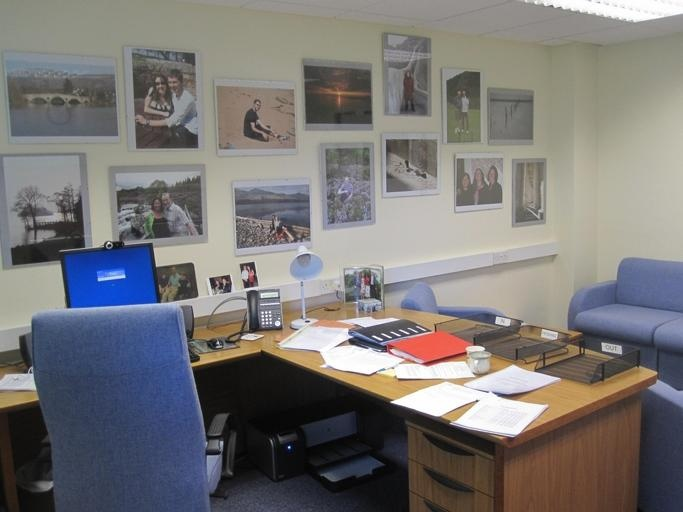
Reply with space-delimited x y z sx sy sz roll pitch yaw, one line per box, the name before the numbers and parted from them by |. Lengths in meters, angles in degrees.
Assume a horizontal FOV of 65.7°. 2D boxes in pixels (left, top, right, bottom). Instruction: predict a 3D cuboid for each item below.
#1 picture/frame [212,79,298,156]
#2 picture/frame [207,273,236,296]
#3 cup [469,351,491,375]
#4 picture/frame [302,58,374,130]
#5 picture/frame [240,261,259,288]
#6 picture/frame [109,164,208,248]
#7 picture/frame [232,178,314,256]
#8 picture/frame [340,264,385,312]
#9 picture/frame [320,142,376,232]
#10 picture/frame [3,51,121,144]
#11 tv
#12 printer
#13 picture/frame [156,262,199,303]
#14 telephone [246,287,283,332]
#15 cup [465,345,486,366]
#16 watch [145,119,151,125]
picture/frame | -0.691 -1.074 4.052 0.574 0.485 0.023 -7 11 -33
picture/frame | -0.913 0.207 3.982 0.151 0.121 0.022 0 -7 -30
cup | 0.748 0.568 2.874 0.081 0.092 0.125 4 12 30
picture/frame | -0.055 -1.362 4.388 0.589 0.533 0.062 -5 12 -26
picture/frame | -0.722 0.137 4.107 0.169 0.247 0.010 -8 1 -42
picture/frame | -1.320 -0.371 3.737 0.562 0.504 0.021 -4 4 -35
picture/frame | -0.567 -0.321 4.162 0.566 0.513 0.020 -5 5 -37
picture/frame | 0.171 0.224 4.181 0.325 0.371 0.285 -4 9 -24
picture/frame | 0.029 -0.613 4.501 0.654 0.913 0.039 -7 7 -39
picture/frame | -1.829 -1.033 3.408 0.590 0.501 0.026 -8 12 -37
tv | -1.405 0.114 3.246 0.522 0.388 0.148 -9 14 -28
printer | -0.174 1.415 3.840 0.691 0.292 0.639 -4 6 -33
picture/frame | -1.182 0.184 3.778 0.259 0.222 0.019 -6 0 -43
telephone | -0.554 0.375 3.801 0.253 0.132 0.327 -1 43 -5
cup | 0.735 0.545 2.955 0.093 0.069 0.098 -2 5 0
watch | -1.346 -0.937 3.690 0.025 0.036 0.005 -8 13 -27
